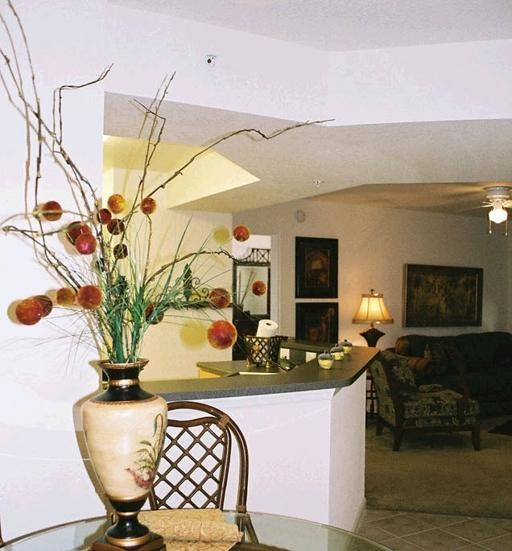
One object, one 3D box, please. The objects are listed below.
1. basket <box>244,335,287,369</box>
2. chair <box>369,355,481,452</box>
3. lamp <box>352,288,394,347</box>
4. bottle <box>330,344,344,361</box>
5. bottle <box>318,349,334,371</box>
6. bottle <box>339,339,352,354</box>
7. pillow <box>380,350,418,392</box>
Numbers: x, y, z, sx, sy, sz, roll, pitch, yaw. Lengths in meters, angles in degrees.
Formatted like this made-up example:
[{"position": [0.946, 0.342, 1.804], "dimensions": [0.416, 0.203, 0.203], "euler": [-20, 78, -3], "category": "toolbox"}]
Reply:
[{"position": [0.060, 0.445, 3.346], "dimensions": [0.306, 0.186, 0.247], "euler": [-1, -8, 6], "category": "basket"}, {"position": [1.411, 1.121, 5.400], "dimensions": [1.319, 0.883, 1.138], "euler": [0, -4, -5], "category": "chair"}, {"position": [1.289, 0.484, 6.315], "dimensions": [0.429, 0.656, 0.564], "euler": [0, 0, 8], "category": "lamp"}, {"position": [0.458, 0.437, 3.190], "dimensions": [0.089, 0.079, 0.096], "euler": [1, -8, -12], "category": "bottle"}, {"position": [0.345, 0.420, 2.823], "dimensions": [0.088, 0.084, 0.082], "euler": [-2, -1, 24], "category": "bottle"}, {"position": [0.539, 0.431, 3.456], "dimensions": [0.093, 0.068, 0.092], "euler": [0, -1, 0], "category": "bottle"}, {"position": [1.320, 0.870, 5.109], "dimensions": [0.111, 0.323, 0.374], "euler": [-32, -9, 39], "category": "pillow"}]
